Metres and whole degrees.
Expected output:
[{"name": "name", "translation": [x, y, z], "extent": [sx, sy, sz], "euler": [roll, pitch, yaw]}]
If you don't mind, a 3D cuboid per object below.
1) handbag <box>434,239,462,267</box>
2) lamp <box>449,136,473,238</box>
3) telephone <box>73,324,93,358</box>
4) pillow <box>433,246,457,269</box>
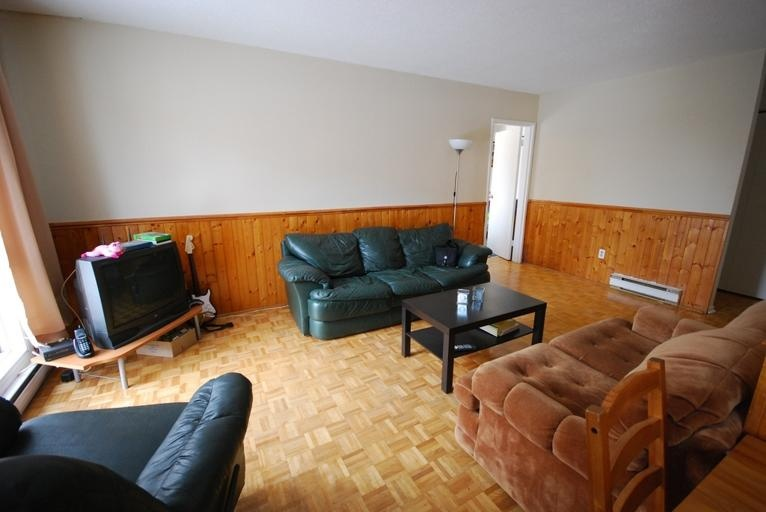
[{"name": "handbag", "translation": [0.806, -0.037, 5.850], "extent": [0.284, 0.275, 0.090], "euler": [-1, -10, 25]}, {"name": "lamp", "translation": [1.031, -0.901, 6.367], "extent": [0.274, 1.337, 0.755], "euler": [-2, 16, 9]}, {"name": "telephone", "translation": [-2.625, 0.730, 4.145], "extent": [0.128, 0.115, 0.318], "euler": [-18, 47, -35]}, {"name": "pillow", "translation": [0.762, 0.011, 5.767], "extent": [0.250, 0.242, 0.082], "euler": [1, -6, 29]}]
